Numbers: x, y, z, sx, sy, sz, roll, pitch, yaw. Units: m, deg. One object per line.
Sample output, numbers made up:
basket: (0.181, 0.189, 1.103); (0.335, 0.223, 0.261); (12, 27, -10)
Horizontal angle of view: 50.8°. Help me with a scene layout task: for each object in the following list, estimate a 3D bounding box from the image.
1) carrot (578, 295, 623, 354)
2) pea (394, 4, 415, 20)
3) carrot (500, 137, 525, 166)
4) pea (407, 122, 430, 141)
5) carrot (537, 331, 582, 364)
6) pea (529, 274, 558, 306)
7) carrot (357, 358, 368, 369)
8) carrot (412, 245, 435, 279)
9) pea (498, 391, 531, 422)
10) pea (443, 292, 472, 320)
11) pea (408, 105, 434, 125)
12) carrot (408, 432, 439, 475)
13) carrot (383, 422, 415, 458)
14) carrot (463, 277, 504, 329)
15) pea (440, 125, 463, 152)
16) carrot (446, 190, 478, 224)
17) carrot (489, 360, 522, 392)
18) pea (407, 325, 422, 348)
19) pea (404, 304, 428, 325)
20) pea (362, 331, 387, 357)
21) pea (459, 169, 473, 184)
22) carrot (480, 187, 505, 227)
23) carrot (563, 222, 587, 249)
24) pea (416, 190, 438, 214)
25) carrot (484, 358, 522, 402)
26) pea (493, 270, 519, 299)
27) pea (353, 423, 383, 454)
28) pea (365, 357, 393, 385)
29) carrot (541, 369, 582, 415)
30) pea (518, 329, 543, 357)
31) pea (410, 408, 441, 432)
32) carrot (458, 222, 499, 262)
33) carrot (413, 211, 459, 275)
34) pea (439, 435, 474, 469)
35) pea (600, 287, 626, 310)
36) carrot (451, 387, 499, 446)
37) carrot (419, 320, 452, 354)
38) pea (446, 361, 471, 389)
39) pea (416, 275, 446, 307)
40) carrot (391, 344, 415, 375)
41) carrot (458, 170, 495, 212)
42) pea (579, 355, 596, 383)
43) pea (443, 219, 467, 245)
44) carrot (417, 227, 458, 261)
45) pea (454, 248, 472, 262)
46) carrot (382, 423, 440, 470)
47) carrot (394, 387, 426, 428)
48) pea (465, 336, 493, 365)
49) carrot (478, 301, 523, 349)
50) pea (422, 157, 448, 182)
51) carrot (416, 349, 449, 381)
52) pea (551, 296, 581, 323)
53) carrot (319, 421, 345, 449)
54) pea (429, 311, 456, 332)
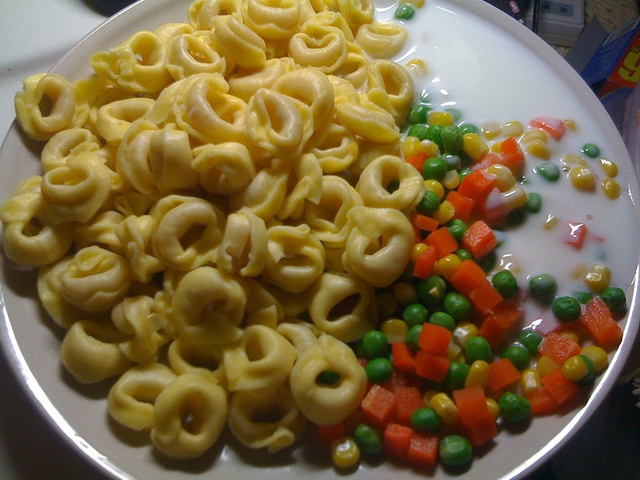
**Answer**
carrot: (0.986, 0.293, 2.343); (0.116, 0.061, 0.180); (-30, 74, -16)
pea: (0.363, -0.971, 2.872); (0.053, 0.044, 0.079); (5, 48, 8)
carrot: (0.734, -0.337, 2.563); (0.109, 0.054, 0.091); (-10, 69, -10)
pea: (0.391, -0.427, 2.647); (0.067, 0.046, 0.080); (9, 85, 6)
carrot: (0.824, 0.372, 2.308); (0.108, 0.086, 0.114); (-34, 75, -18)
pea: (0.802, 0.173, 2.397); (0.105, 0.047, 0.102); (5, 68, -4)
carrot: (0.155, 0.430, 2.338); (0.026, 0.008, 0.029); (8, 62, 2)
carrot: (0.365, 0.080, 2.372); (0.060, 0.046, 0.115); (16, 95, -4)
pea: (0.643, 0.550, 2.221); (0.080, 0.101, 0.093); (8, 65, 43)
pea: (0.486, 0.226, 2.419); (0.093, 0.072, 0.073); (36, 77, -13)
pea: (0.406, -0.493, 2.684); (0.082, 0.048, 0.068); (-27, 89, -1)
carrot: (0.342, 0.700, 2.199); (0.095, 0.068, 0.112); (2, 59, 8)
carrot: (0.262, 0.654, 2.270); (0.088, 0.096, 0.100); (18, 51, 4)
carrot: (0.576, 0.217, 2.404); (0.148, 0.052, 0.159); (41, 99, -5)
pea: (0.503, -0.387, 2.565); (0.066, 0.103, 0.050); (1, 24, 13)
carrot: (0.529, -0.118, 2.534); (0.103, 0.103, 0.114); (22, 57, -38)
carrot: (0.640, 0.496, 2.309); (0.116, 0.093, 0.125); (-3, 46, 19)
pea: (0.326, 0.330, 2.316); (0.043, 0.064, 0.050); (10, 42, -2)
pea: (0.342, 0.264, 2.378); (0.085, 0.039, 0.073); (3, 68, -5)
pea: (0.189, 0.357, 2.373); (0.079, 0.079, 0.087); (19, 50, -1)
pea: (0.550, -0.246, 2.575); (0.041, 0.031, 0.054); (-1, 28, 19)
carrot: (0.636, -0.120, 2.472); (0.070, 0.132, 0.073); (-17, 47, 1)
carrot: (0.938, -0.021, 2.462); (0.074, 0.022, 0.095); (29, 68, 5)
pea: (0.393, -0.132, 2.441); (0.075, 0.061, 0.060); (-32, 74, -4)
carrot: (0.628, 0.478, 2.320); (0.107, 0.092, 0.108); (-13, 45, -3)
pea: (0.655, 0.158, 2.369); (0.067, 0.097, 0.052); (-2, 32, 25)
pea: (0.163, 0.655, 2.223); (0.094, 0.042, 0.091); (6, 68, -3)
pea: (0.200, 0.447, 2.291); (0.080, 0.088, 0.087); (-2, 37, 3)
carrot: (0.806, 0.519, 2.256); (0.117, 0.033, 0.125); (-37, 87, 0)
pea: (0.747, 0.366, 2.390); (0.078, 0.041, 0.081); (-27, 77, -8)
pea: (0.348, 0.593, 2.212); (0.061, 0.087, 0.069); (6, 69, 0)
carrot: (0.590, 0.007, 2.502); (0.129, 0.099, 0.132); (-38, 60, -2)
carrot: (0.417, 0.008, 2.374); (0.182, 0.055, 0.182); (-44, 85, -8)
pea: (0.447, 0.693, 2.220); (0.116, 0.103, 0.101); (-3, 32, 7)
pea: (1.029, 0.203, 2.357); (0.056, 0.083, 0.069); (2, 96, 6)
carrot: (0.507, 0.589, 2.214); (0.093, 0.104, 0.187); (-21, 86, -32)
carrot: (0.392, 0.331, 2.312); (0.094, 0.100, 0.103); (21, 70, 1)
pea: (0.465, 0.460, 2.276); (0.059, 0.067, 0.092); (10, 99, -2)
pea: (0.396, 0.182, 2.395); (0.091, 0.055, 0.110); (4, 89, 6)
carrot: (0.280, 0.414, 2.318); (0.080, 0.027, 0.086); (-24, 82, -32)
carrot: (0.565, -0.196, 2.486); (0.126, 0.116, 0.126); (-42, 63, -14)
pea: (0.906, 0.432, 2.253); (0.033, 0.073, 0.079); (0, 70, 32)
pea: (0.502, -0.040, 2.508); (0.063, 0.067, 0.088); (-32, 65, -25)
carrot: (0.440, 0.008, 2.469); (0.109, 0.082, 0.109); (-39, 79, -4)
pea: (0.520, 0.051, 2.435); (0.040, 0.053, 0.047); (1, 64, 7)
carrot: (0.297, 0.686, 2.243); (0.186, 0.103, 0.109); (10, 21, 14)
carrot: (0.290, 0.554, 2.208); (0.102, 0.071, 0.118); (9, 71, 0)
pea: (0.551, 0.380, 2.320); (0.096, 0.043, 0.090); (2, 68, -5)
carrot: (0.650, 0.300, 2.449); (0.173, 0.115, 0.124); (-51, 55, 3)
pea: (0.428, -0.264, 2.525); (0.079, 0.085, 0.087); (14, 32, -1)
carrot: (0.379, 0.424, 2.308); (0.100, 0.101, 0.099); (39, 74, -15)
pea: (0.869, 0.244, 2.362); (0.084, 0.058, 0.088); (-20, 71, -13)
carrot: (0.037, 0.648, 2.241); (0.084, 0.067, 0.086); (-13, 66, 34)
pea: (0.435, 0.284, 2.357); (0.062, 0.058, 0.079); (-48, 35, -1)
